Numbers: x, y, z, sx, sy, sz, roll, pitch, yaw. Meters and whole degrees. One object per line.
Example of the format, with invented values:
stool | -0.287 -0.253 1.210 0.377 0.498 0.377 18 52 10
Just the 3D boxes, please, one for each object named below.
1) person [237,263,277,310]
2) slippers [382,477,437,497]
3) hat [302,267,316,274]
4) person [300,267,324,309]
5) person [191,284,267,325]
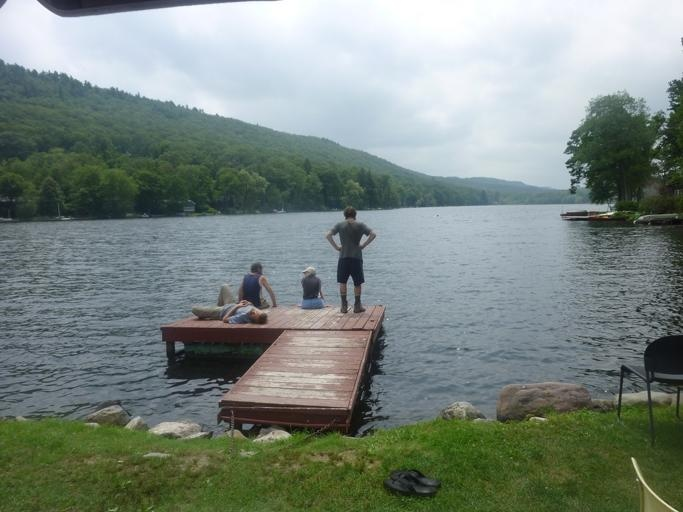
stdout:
person | -3.216 1.168 22.184 1.221 1.535 1.002 12 17 19
slippers | 1.094 3.740 9.296 0.844 0.128 0.304 1 8 20
hat | -1.115 0.460 18.984 0.489 0.256 0.351 -2 -2 35
person | -0.988 1.023 19.388 0.750 1.430 1.608 -2 8 -2
person | -3.405 1.543 18.117 2.637 0.959 1.088 4 9 36
